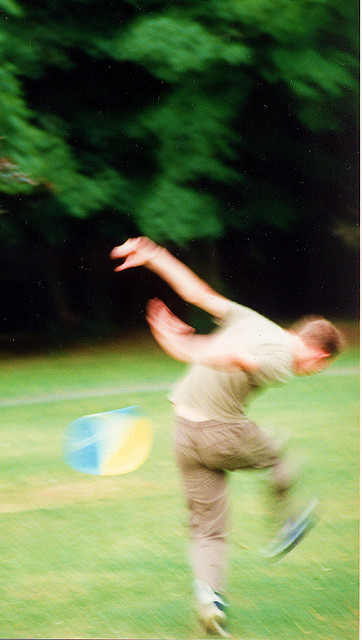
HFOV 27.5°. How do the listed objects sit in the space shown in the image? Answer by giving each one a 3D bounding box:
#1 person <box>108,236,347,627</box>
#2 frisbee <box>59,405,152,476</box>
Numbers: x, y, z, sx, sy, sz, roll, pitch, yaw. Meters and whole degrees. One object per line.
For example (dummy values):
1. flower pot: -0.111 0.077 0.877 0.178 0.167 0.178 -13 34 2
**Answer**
1. person: 0.201 0.281 2.259 0.564 1.004 0.686 -12 29 -17
2. frisbee: -0.260 0.385 2.397 0.314 0.087 0.398 -3 20 -9
